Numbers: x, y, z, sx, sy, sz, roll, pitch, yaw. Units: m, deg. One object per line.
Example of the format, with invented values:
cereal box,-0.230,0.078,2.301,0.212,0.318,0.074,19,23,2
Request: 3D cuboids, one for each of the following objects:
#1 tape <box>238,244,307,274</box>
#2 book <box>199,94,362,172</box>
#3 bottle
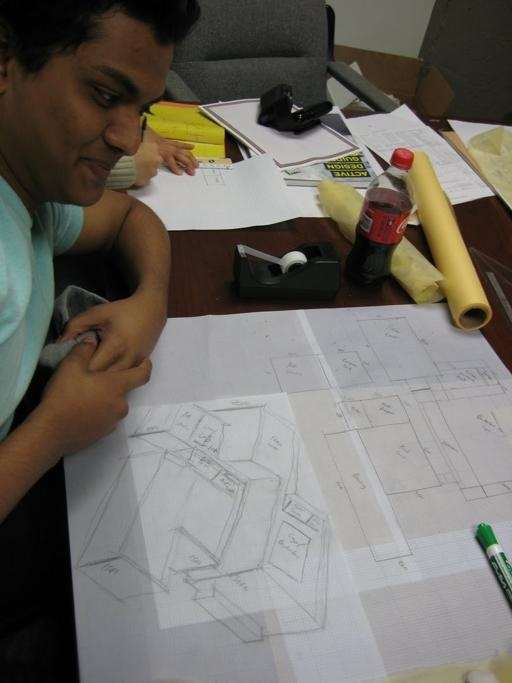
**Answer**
tape,0.032,-0.134,0.905,0.143,0.059,0.044,-1,36,-8
book,0.028,-0.513,1.303,0.235,0.044,0.306,-27,57,-34
bottle,0.220,-0.233,0.906,0.083,0.224,0.192,14,51,8
